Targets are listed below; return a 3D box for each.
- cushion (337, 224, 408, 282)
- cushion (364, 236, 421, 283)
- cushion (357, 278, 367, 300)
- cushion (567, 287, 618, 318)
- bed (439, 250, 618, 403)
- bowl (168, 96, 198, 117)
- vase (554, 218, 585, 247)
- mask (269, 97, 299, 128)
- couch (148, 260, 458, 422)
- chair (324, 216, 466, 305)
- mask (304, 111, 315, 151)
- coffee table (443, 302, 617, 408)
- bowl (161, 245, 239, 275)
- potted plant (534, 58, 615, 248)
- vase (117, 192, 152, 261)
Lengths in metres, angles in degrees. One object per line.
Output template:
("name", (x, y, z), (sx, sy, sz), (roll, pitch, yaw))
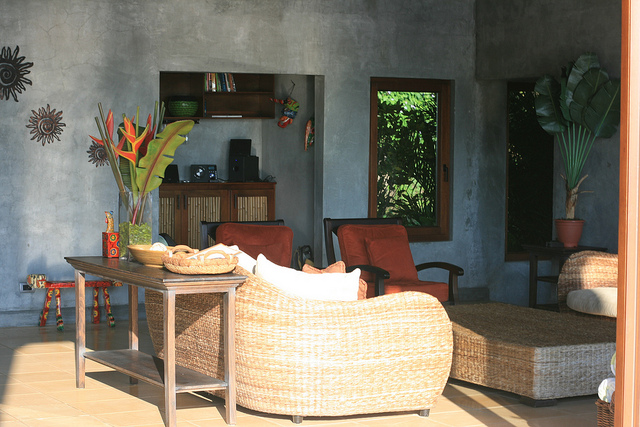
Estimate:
("cushion", (0.454, 0.329, 6.316), (0.593, 0.599, 0.226), (-3, -20, -27))
("cushion", (0.716, 0.431, 6.385), (0.459, 0.463, 0.140), (-6, -18, -31))
("cushion", (0.297, 0.532, 4.566), (0.078, 0.119, 0.029), (2, -10, 8))
("cushion", (2.387, 0.775, 5.663), (0.399, 0.124, 0.401), (2, -3, -31))
("bed", (1.865, 0.968, 5.131), (1.300, 0.821, 1.288), (3, -4, -22))
("bowl", (-1.933, -1.461, 9.076), (0.306, 0.222, 0.311), (0, -2, 0))
("vase", (2.784, 0.216, 7.230), (0.316, 0.305, 0.326), (1, 10, 31))
("mask", (-0.570, -1.506, 9.711), (0.423, 0.493, 0.212), (17, -10, -7))
("couch", (0.044, 0.920, 4.364), (1.165, 0.835, 1.589), (1, -1, -39))
("chair", (0.711, 0.645, 6.225), (0.927, 1.327, 1.116), (-1, -3, -30))
("mask", (-0.165, -1.200, 9.655), (0.134, 0.522, 0.283), (-2, 8, -4))
("coffee table", (1.626, 1.308, 5.378), (1.087, 0.360, 1.550), (16, -9, -14))
("bowl", (-0.841, 0.300, 4.307), (0.575, 0.149, 0.349), (5, 9, 42))
("potted plant", (2.796, -0.674, 7.321), (0.711, 2.045, 1.074), (-2, 8, -6))
("vase", (-1.467, 0.094, 5.034), (0.296, 0.554, 0.261), (1, -9, -33))
